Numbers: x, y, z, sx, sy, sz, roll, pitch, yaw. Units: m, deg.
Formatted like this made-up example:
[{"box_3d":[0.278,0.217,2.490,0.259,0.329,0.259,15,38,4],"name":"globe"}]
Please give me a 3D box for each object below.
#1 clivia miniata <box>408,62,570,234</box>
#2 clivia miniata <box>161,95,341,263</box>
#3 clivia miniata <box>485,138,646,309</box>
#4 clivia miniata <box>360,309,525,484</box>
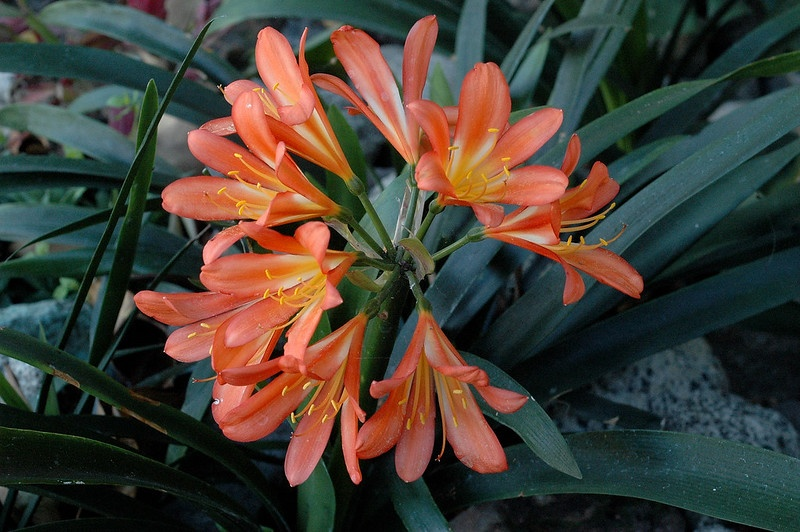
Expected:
[{"box_3d":[0.151,-0.217,1.276,0.269,0.227,0.257,-2,51,-24],"name":"clivia miniata"},{"box_3d":[-0.251,-0.206,1.301,0.345,0.190,0.188,-24,105,-45],"name":"clivia miniata"},{"box_3d":[0.276,-0.066,1.389,0.339,0.233,0.292,-1,63,3],"name":"clivia miniata"},{"box_3d":[0.058,0.216,1.299,0.315,0.297,0.346,-7,17,1],"name":"clivia miniata"}]
